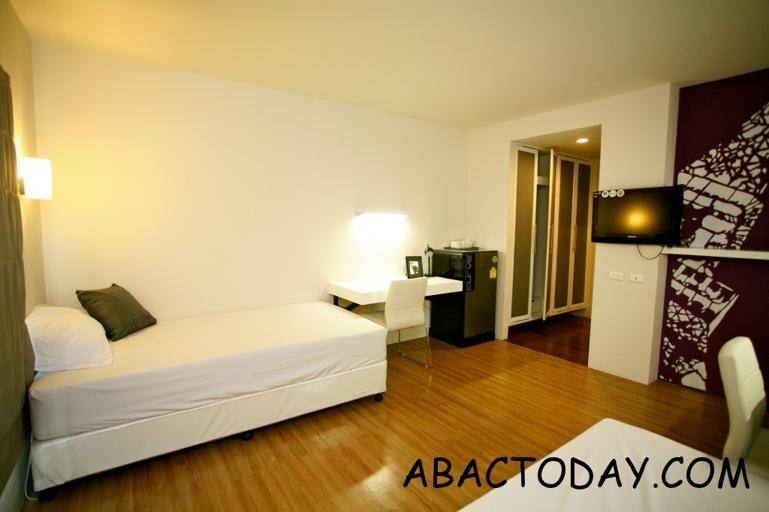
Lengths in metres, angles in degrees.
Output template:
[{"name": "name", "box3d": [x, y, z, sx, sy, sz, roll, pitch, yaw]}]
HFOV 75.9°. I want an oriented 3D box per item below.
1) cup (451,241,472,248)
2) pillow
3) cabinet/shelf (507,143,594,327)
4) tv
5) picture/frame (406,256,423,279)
[{"name": "cup", "box3d": [1.012, -0.152, 6.309, 0.290, 0.100, 0.160, 0, 10, -11]}, {"name": "pillow", "box3d": [-2.513, 0.593, 4.187, 0.761, 0.512, 0.816, 0, 11, -12]}, {"name": "cabinet/shelf", "box3d": [2.237, -0.332, 6.755, 2.280, 2.350, 0.663, -2, 5, -34]}, {"name": "tv", "box3d": [2.654, -0.435, 5.086, 0.637, 0.486, 0.078, 4, 8, 43]}, {"name": "picture/frame", "box3d": [0.357, 0.141, 5.998, 0.255, 0.274, 0.019, 1, -3, -31]}]
